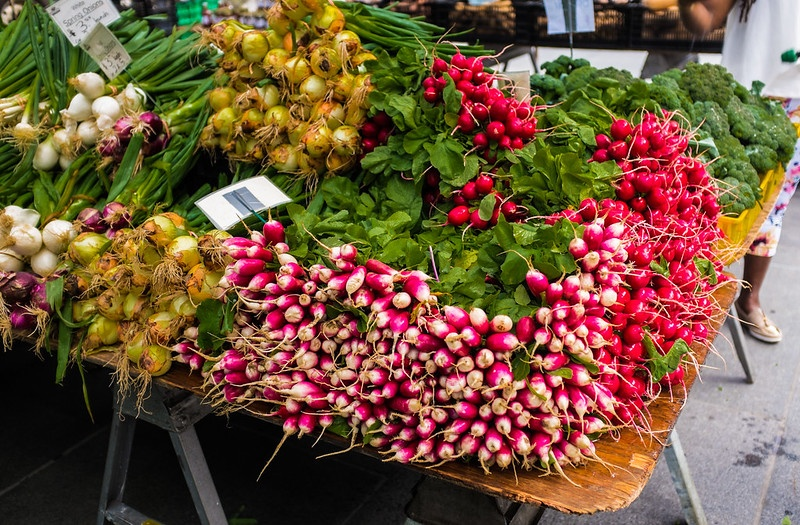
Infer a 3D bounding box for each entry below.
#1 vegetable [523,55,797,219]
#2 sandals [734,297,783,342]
[{"bbox_3d":[1.440,-0.642,3.832,1.304,0.486,1.164,33,32,7],"label":"vegetable"},{"bbox_3d":[2.515,0.421,4.423,0.161,0.167,0.359,-37,53,-14],"label":"sandals"}]
